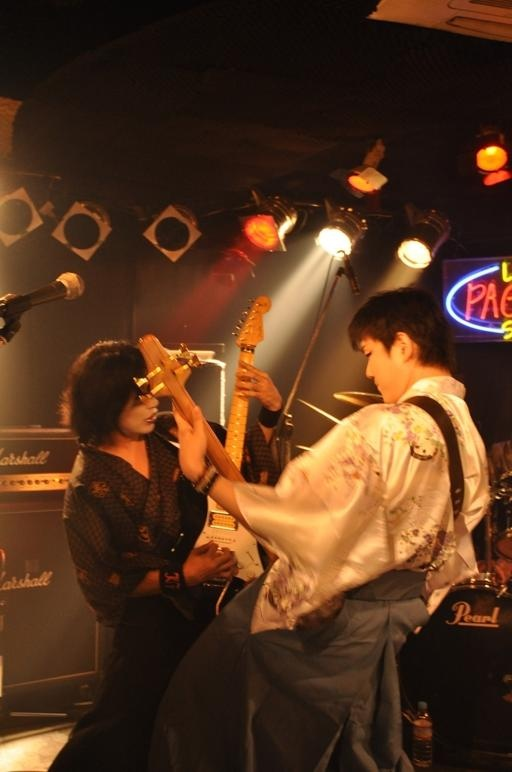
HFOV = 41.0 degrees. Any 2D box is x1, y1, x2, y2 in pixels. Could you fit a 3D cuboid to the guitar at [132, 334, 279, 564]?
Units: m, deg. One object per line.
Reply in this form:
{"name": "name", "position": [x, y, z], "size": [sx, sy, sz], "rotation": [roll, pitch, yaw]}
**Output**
{"name": "guitar", "position": [-0.215, 0.101, 1.965], "size": [0.314, 0.791, 0.105], "rotation": [-36, -18, 25]}

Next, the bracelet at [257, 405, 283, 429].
{"name": "bracelet", "position": [0.053, 0.124, 2.780], "size": [0.097, 0.087, 0.087], "rotation": [7, 5, -14]}

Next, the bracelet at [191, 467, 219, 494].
{"name": "bracelet", "position": [-0.118, 0.225, 1.601], "size": [0.062, 0.045, 0.063], "rotation": [-50, 10, -24]}

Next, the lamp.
{"name": "lamp", "position": [0.343, -0.781, 3.344], "size": [1.505, 0.466, 0.592], "rotation": [9, 41, 44]}
